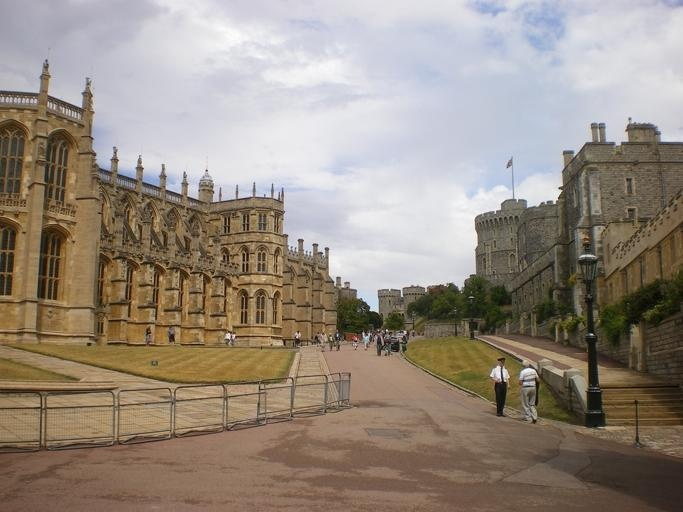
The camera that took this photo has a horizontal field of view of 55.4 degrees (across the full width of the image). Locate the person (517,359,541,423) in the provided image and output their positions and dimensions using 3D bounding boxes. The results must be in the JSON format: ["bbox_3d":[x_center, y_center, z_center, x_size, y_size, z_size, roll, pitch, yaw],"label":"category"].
[{"bbox_3d":[6.517,4.658,22.546,0.606,2.068,1.128,-2,-9,15],"label":"person"}]
